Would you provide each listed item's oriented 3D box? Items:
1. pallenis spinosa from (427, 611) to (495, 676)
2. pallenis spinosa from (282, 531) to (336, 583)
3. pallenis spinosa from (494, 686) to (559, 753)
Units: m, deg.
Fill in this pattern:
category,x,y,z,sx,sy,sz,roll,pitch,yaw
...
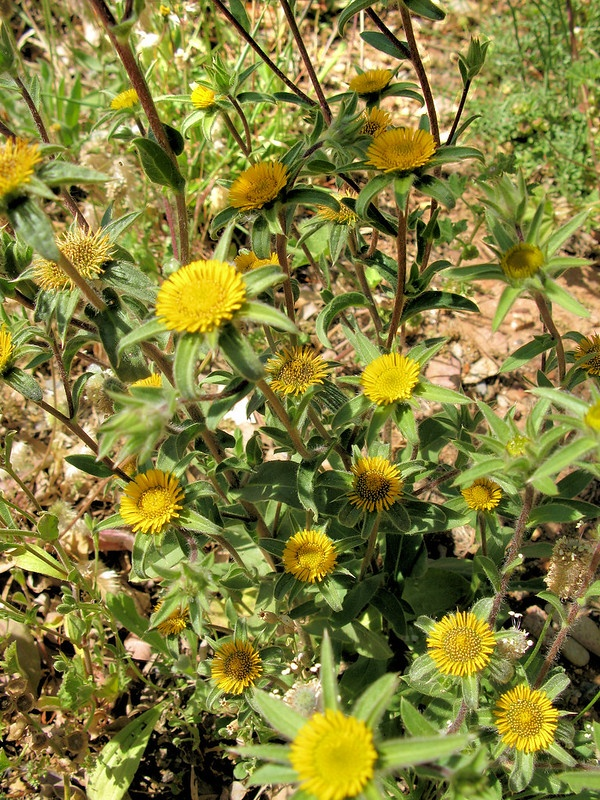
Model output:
category,x,y,z,sx,sy,sz,roll,pitch,yaw
pallenis spinosa,0.469,0.714,2.063,0.209,0.071,0.200,1,37,13
pallenis spinosa,0.037,0.509,2.329,0.201,0.065,0.203,1,30,21
pallenis spinosa,0.672,0.947,2.097,0.178,0.142,0.143,-11,30,8
